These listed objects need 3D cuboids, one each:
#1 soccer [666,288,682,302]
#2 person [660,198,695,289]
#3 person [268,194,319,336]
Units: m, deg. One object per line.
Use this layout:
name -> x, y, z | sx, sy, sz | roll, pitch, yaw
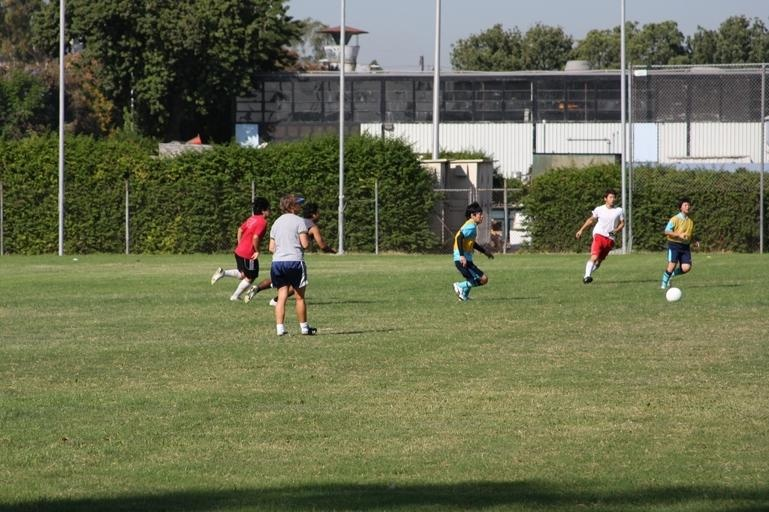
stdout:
soccer -> 8.740, 1.086, 46.065 | 0.418, 0.230, 0.412 | -29, 20, -39
person -> 9.272, -0.316, 48.052 | 1.026, 2.913, 1.315 | 3, -3, 7
person -> -2.546, 0.237, 42.366 | 1.130, 3.856, 1.280 | 0, 3, -4
